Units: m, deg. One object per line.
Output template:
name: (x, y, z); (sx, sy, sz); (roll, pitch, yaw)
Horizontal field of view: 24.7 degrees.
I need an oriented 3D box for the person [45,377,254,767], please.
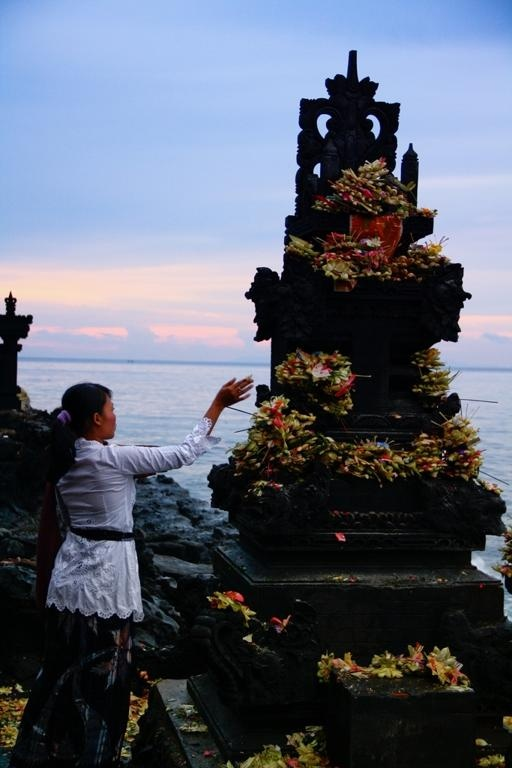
person: (-0.596, 0.595, 5.581); (0.762, 1.384, 0.282); (4, 1, -6)
